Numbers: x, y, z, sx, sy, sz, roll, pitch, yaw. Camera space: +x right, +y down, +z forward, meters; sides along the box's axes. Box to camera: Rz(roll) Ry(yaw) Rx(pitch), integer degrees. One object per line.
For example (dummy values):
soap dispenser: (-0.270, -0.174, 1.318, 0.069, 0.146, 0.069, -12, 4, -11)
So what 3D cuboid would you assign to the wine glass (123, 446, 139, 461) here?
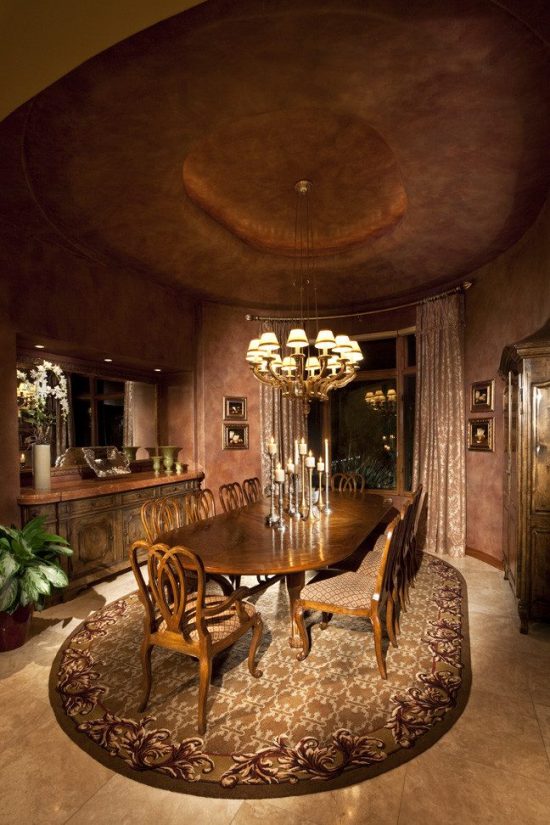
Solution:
wine glass: (-1.478, 0.416, 5.418, 0.116, 0.089, 0.120, -2, -7, 20)

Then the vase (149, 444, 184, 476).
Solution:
vase: (-1.140, 0.492, 5.507, 0.282, 0.199, 0.334, 2, 0, 20)

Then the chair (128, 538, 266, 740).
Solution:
chair: (-0.372, 0.945, 2.616, 0.605, 0.838, 0.998, -1, 1, -7)

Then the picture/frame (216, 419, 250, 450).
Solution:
picture/frame: (-0.522, 0.245, 6.112, 0.332, 0.338, 0.023, 3, -6, -42)

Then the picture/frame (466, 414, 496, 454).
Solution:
picture/frame: (1.892, 0.193, 4.886, 0.027, 0.370, 0.358, 2, 0, -17)

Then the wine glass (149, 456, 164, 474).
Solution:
wine glass: (-1.221, 0.532, 5.468, 0.163, 0.194, 0.180, 0, -7, -1)

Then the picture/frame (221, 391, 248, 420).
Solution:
picture/frame: (-0.500, -0.076, 6.140, 0.307, 0.314, 0.045, 3, -6, -43)

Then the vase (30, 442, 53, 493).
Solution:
vase: (-1.757, 0.399, 3.972, 0.112, 0.340, 0.313, -1, 2, -28)

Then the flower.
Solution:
flower: (-1.842, -0.098, 4.196, 0.365, 0.650, 0.941, -1, 1, -20)

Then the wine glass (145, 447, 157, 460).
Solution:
wine glass: (-1.308, 0.424, 5.547, 0.117, 0.095, 0.127, -2, -3, 17)
